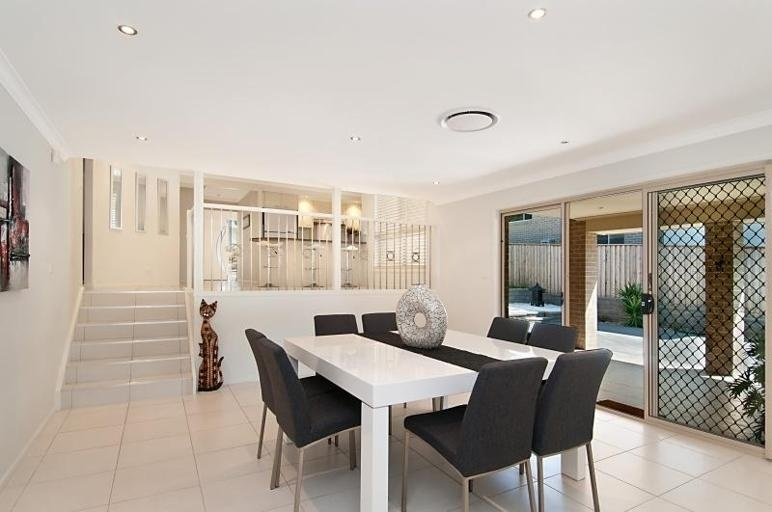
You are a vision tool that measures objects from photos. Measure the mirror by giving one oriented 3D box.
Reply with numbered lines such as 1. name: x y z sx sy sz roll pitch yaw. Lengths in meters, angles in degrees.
1. mirror: -4.643 -1.051 8.954 1.020 1.231 0.314 1 0 -32
